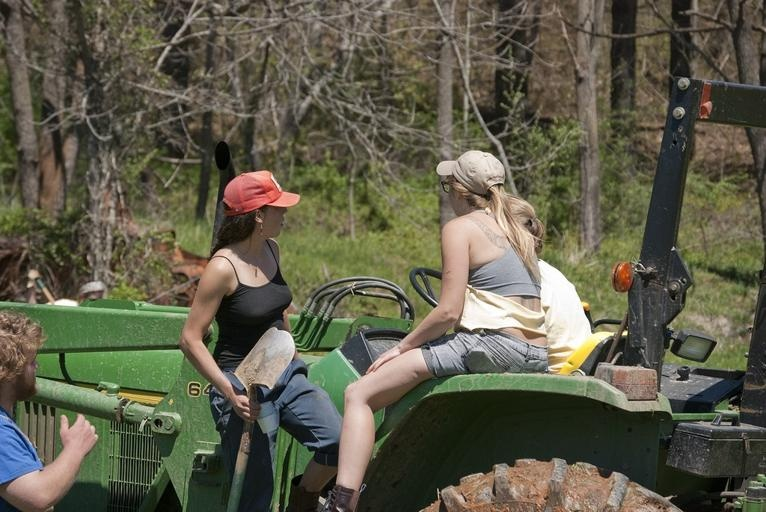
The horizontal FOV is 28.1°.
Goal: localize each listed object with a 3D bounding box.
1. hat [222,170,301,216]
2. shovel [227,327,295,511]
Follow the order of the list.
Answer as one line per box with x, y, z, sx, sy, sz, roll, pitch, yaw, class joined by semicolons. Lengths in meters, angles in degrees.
-1.276;-0.669;15.346;0.563;0.398;0.434;0;9;-6;hat
-1.232;1.596;15.171;0.261;1.334;1.232;17;-24;-1;shovel
